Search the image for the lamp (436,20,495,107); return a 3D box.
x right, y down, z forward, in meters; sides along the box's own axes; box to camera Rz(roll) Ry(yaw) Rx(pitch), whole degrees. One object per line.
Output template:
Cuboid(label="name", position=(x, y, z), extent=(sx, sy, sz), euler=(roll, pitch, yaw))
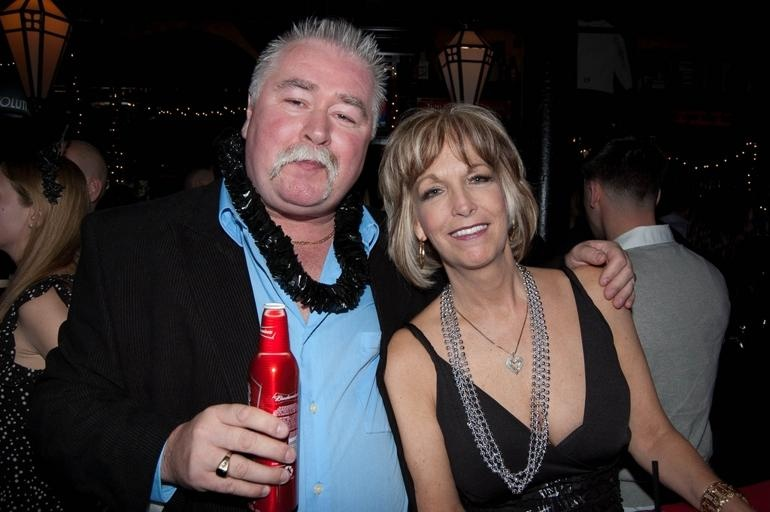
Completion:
Cuboid(label="lamp", position=(0.839, -1.894, 6.048), extent=(0.479, 0.722, 0.520), euler=(6, 9, 36))

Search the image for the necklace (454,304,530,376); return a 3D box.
Cuboid(label="necklace", position=(0.659, 0.533, 3.737), extent=(0.358, 0.346, 0.031), euler=(-23, -9, -26))
